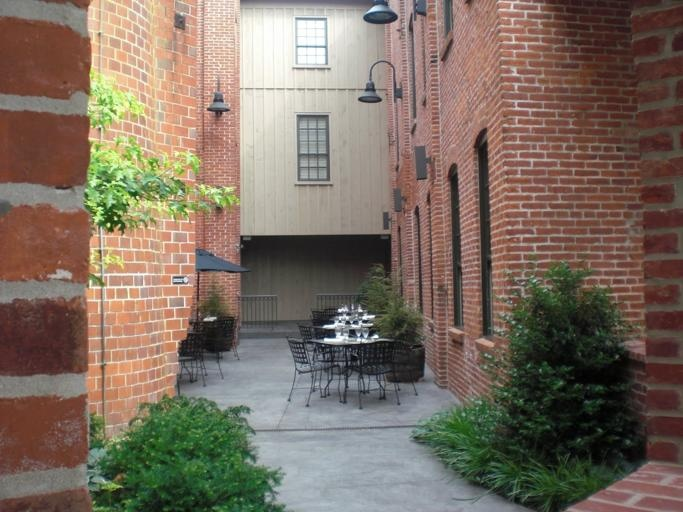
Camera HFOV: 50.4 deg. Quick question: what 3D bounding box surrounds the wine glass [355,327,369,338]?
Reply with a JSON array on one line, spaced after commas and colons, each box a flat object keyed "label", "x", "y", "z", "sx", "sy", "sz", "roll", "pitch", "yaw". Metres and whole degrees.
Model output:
[{"label": "wine glass", "x": 0.294, "y": 1.134, "z": 10.670, "sx": 0.154, "sy": 0.237, "sz": 0.145, "roll": -5, "pitch": -5, "yaw": 43}]

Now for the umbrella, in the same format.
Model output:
[{"label": "umbrella", "x": -2.348, "y": 0.484, "z": 13.590, "sx": 1.265, "sy": 0.848, "sz": 1.251, "roll": 0, "pitch": 1, "yaw": -3}]

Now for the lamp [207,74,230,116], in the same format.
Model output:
[{"label": "lamp", "x": -2.920, "y": -3.811, "z": 17.194, "sx": 0.587, "sy": 0.821, "sz": 0.574, "roll": -2, "pitch": 11, "yaw": -21}]

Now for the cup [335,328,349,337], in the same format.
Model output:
[{"label": "cup", "x": 0.016, "y": 1.136, "z": 10.769, "sx": 0.128, "sy": 0.200, "sz": 0.133, "roll": 2, "pitch": -4, "yaw": 0}]
